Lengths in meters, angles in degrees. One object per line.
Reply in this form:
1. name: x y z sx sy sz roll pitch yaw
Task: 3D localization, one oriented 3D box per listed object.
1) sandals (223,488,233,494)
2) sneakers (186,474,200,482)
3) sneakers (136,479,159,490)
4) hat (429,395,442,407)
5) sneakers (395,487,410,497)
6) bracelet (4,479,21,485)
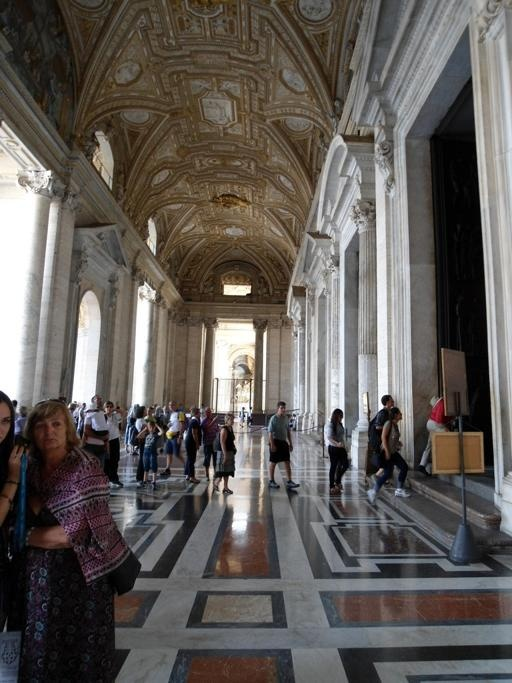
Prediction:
1. sandals: -0.437 2.270 6.710 0.056 0.077 0.173 7 0 -40
2. sneakers: -1.107 2.388 7.706 0.246 0.099 0.093 3 1 3
3. sneakers: -1.804 2.359 7.297 0.177 0.152 0.430 -5 -7 18
4. hat: 2.624 0.870 6.491 0.159 0.193 0.209 5 -4 -32
5. sneakers: 1.938 1.991 5.793 0.225 0.101 0.107 3 1 -34
6. bracelet: -0.771 0.444 1.401 0.026 0.007 0.026 3 1 4
